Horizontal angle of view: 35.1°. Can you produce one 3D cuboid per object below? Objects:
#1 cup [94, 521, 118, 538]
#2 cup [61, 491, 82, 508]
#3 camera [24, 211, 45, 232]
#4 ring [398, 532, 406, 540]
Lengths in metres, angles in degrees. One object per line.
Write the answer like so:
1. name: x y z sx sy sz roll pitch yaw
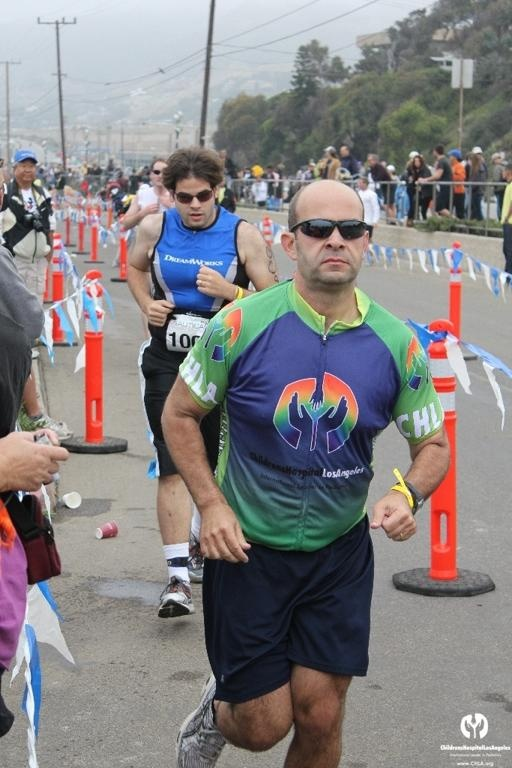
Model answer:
1. cup: -0.889 0.863 4.817 0.133 0.077 0.136 1 8 0
2. cup: -1.229 0.776 5.410 0.087 0.110 0.105 8 -8 37
3. camera: -2.737 -2.012 9.961 0.219 0.218 0.112 -20 -1 -20
4. ring: 0.329 0.339 1.813 0.014 0.008 0.019 -1 -1 3
